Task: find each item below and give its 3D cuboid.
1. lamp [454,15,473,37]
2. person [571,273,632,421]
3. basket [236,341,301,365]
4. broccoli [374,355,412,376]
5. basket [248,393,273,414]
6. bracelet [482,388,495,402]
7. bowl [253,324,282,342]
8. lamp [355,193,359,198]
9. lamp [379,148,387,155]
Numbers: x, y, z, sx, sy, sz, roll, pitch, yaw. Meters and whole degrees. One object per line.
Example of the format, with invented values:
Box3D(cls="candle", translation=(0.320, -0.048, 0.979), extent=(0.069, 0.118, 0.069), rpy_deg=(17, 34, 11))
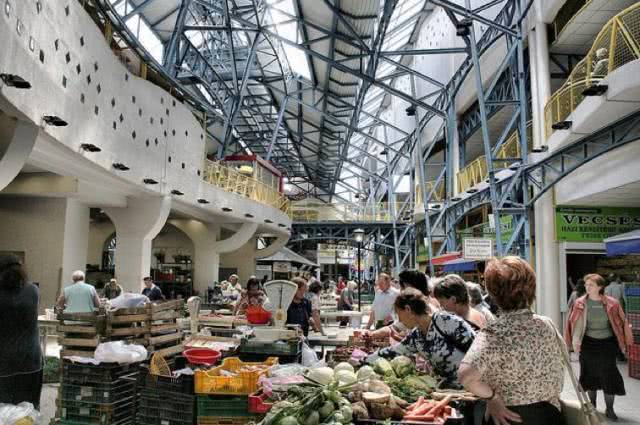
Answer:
Box3D(cls="lamp", translation=(4.899, -6.239, 17.929), extent=(0.536, 0.596, 0.596), rpy_deg=(-3, -14, 13))
Box3D(cls="person", translation=(5.250, 2.483, 9.918), extent=(1.063, 2.646, 0.541), rpy_deg=(-6, -14, 23))
Box3D(cls="basket", translation=(-0.739, 2.069, 8.127), extent=(0.810, 0.349, 0.980), rpy_deg=(2, -5, 2))
Box3D(cls="broccoli", translation=(0.986, 2.048, 6.983), extent=(0.323, 0.147, 0.294), rpy_deg=(2, -11, -26))
Box3D(cls="basket", translation=(-0.740, 2.339, 6.452), extent=(0.221, 0.136, 0.312), rpy_deg=(1, -8, 1))
Box3D(cls="bracelet", translation=(1.921, 2.074, 5.988), extent=(0.124, 0.093, 0.178), rpy_deg=(-1, -14, 9))
Box3D(cls="bowl", translation=(-0.804, 1.829, 7.909), extent=(0.403, 0.208, 0.329), rpy_deg=(2, -14, -9))
Box3D(cls="lamp", translation=(4.169, -1.840, 59.307), extent=(0.455, 0.416, 0.623), rpy_deg=(1, -5, -9))
Box3D(cls="lamp", translation=(4.279, -4.039, 35.431), extent=(0.314, 0.401, 0.916), rpy_deg=(3, 10, -8))
